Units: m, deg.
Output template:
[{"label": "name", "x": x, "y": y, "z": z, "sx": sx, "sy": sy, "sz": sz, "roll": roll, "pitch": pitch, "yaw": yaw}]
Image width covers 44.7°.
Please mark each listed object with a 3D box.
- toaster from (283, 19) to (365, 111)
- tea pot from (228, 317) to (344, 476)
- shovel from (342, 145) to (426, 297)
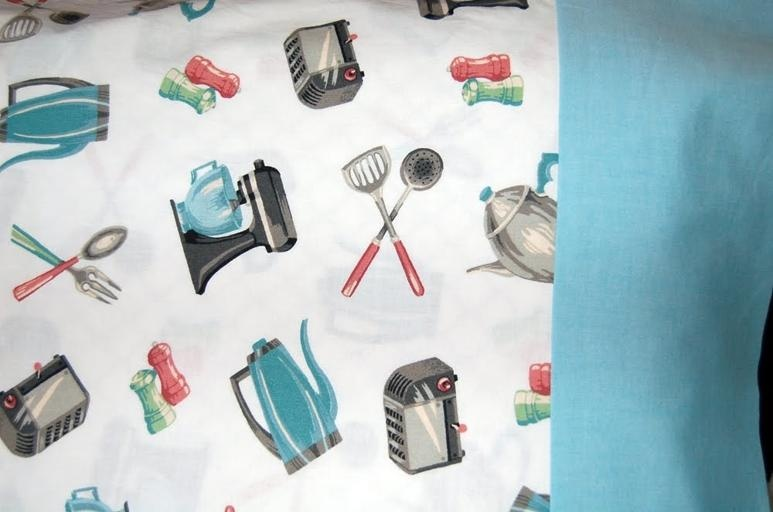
[{"label": "toaster", "x": -0.127, "y": -0.394, "z": 1.949, "sx": 0.145, "sy": 0.167, "sz": 0.112, "roll": -11, "pitch": -6, "yaw": -6}, {"label": "tea pot", "x": -0.199, "y": 0.279, "z": 1.883, "sx": 0.193, "sy": 0.262, "sz": 0.096, "roll": -28, "pitch": 3, "yaw": -8}, {"label": "shovel", "x": -0.006, "y": -0.070, "z": 1.946, "sx": 0.173, "sy": 0.357, "sz": 0.022, "roll": -14, "pitch": 36, "yaw": -4}]
